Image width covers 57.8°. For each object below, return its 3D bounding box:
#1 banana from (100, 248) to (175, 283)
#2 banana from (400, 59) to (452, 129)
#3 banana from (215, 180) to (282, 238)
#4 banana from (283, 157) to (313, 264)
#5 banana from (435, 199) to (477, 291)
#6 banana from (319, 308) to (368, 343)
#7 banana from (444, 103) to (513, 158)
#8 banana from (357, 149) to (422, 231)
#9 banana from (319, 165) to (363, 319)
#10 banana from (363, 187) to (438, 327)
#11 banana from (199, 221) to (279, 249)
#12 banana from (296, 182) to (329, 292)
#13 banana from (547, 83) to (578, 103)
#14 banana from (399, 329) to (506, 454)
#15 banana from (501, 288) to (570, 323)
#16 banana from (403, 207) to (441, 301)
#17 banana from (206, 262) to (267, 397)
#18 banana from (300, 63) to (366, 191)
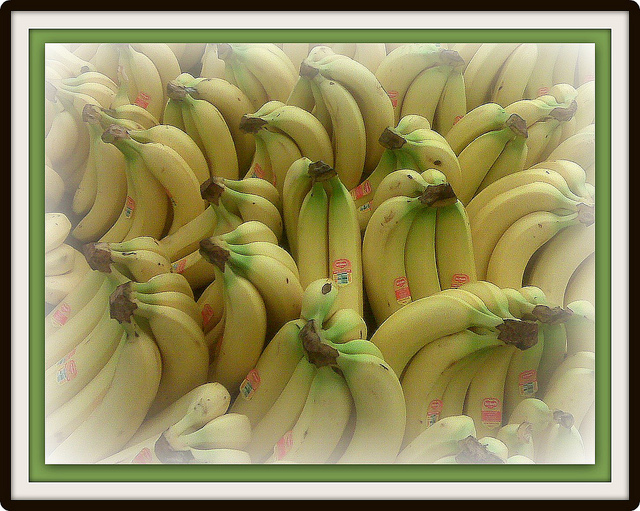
[{"bbox_3d":[-0.682,0.047,2.078,0.170,0.091,0.331,-6,-9,6],"label":"banana"},{"bbox_3d":[0.434,-0.664,2.398,0.096,0.381,0.123,24,15,12],"label":"banana"},{"bbox_3d":[-0.251,-0.188,2.141,0.246,0.135,0.066,49,1,-10],"label":"banana"},{"bbox_3d":[-0.077,-0.174,2.173,0.099,0.412,0.127,2,24,0],"label":"banana"},{"bbox_3d":[0.512,-0.029,2.173,0.103,0.428,0.129,1,14,26],"label":"banana"},{"bbox_3d":[0.078,0.234,1.906,0.109,0.055,0.114,17,18,-21],"label":"banana"},{"bbox_3d":[0.622,-0.487,2.274,0.101,0.269,0.078,31,27,-53],"label":"banana"},{"bbox_3d":[0.262,-0.237,2.154,0.101,0.308,0.077,28,5,-27],"label":"banana"},{"bbox_3d":[0.096,-0.043,2.117,0.116,0.616,0.192,-5,1,8],"label":"banana"},{"bbox_3d":[0.299,-0.013,2.152,0.143,0.686,0.220,-1,8,-30],"label":"banana"},{"bbox_3d":[-0.273,-0.062,2.019,0.214,0.072,0.119,-15,32,-28],"label":"banana"},{"bbox_3d":[-0.017,-0.066,2.169,0.090,0.434,0.143,1,0,3],"label":"banana"},{"bbox_3d":[1.000,-0.671,2.389,0.076,0.057,0.095,18,28,25],"label":"banana"},{"bbox_3d":[0.441,0.458,1.987,0.101,0.387,0.142,34,7,21],"label":"banana"},{"bbox_3d":[0.719,0.171,1.966,0.188,0.051,0.075,12,35,18],"label":"banana"},{"bbox_3d":[0.364,-0.004,2.156,0.094,0.401,0.127,0,12,-5],"label":"banana"},{"bbox_3d":[-0.269,0.269,2.037,0.167,0.530,0.121,15,14,19],"label":"banana"},{"bbox_3d":[0.054,-0.545,2.315,0.163,0.570,0.176,-11,21,0],"label":"banana"}]
